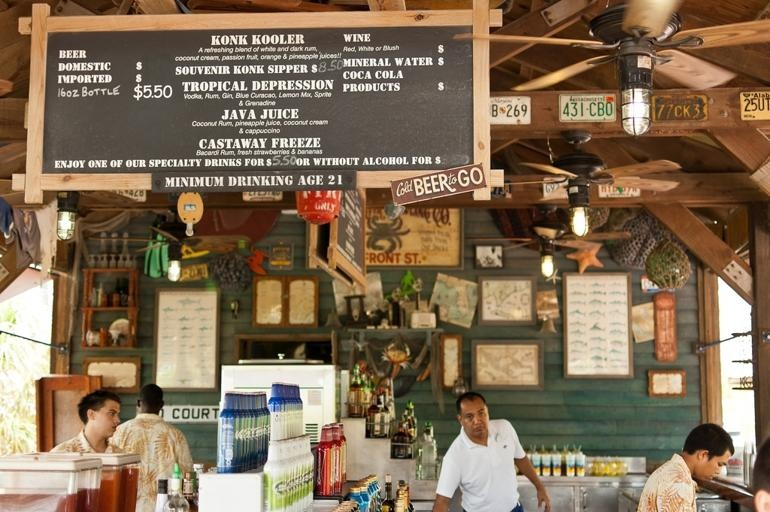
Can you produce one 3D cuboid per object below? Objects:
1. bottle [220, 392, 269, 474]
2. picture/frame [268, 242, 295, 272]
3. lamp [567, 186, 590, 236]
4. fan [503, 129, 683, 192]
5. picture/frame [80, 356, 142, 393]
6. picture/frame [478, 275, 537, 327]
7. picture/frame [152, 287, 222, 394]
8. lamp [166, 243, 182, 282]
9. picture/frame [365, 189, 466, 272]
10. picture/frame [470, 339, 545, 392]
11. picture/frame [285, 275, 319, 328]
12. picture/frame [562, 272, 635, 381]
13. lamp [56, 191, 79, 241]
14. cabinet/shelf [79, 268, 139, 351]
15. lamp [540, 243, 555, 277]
[{"bbox_3d":[-1.118,1.396,10.034,0.158,0.629,0.490,-9,-8,39],"label":"bottle"},{"bbox_3d":[-1.252,0.030,15.249,0.363,0.323,0.084,2,-6,-3],"label":"picture/frame"},{"bbox_3d":[1.879,-0.444,12.149,0.203,0.497,0.206,-6,-7,21],"label":"lamp"},{"bbox_3d":[1.796,-0.913,12.377,2.018,0.576,1.724,-9,3,-12],"label":"fan"},{"bbox_3d":[-3.296,1.441,15.220,0.741,0.443,0.086,-1,-2,10],"label":"picture/frame"},{"bbox_3d":[1.482,0.535,15.094,0.650,0.555,0.064,-2,-7,-6],"label":"picture/frame"},{"bbox_3d":[-2.377,0.999,15.178,0.786,1.234,0.061,-3,-7,3],"label":"picture/frame"},{"bbox_3d":[-2.332,0.054,13.998,0.137,0.385,0.357,-2,-6,-10],"label":"lamp"},{"bbox_3d":[0.371,-0.220,15.173,1.191,0.762,0.121,-3,-7,3],"label":"picture/frame"},{"bbox_3d":[1.478,1.299,15.003,0.823,0.563,0.118,-2,-7,-8],"label":"picture/frame"},{"bbox_3d":[-0.979,0.565,15.184,0.462,0.608,0.048,-1,-2,31],"label":"picture/frame"},{"bbox_3d":[2.555,0.827,15.047,0.838,1.244,0.115,-4,-7,7],"label":"picture/frame"},{"bbox_3d":[-3.058,-0.395,12.134,0.200,0.465,0.350,-1,-6,-14],"label":"lamp"},{"bbox_3d":[-3.337,0.634,15.263,0.723,0.986,0.245,-2,-7,-6],"label":"cabinet/shelf"},{"bbox_3d":[1.752,0.041,13.407,0.126,0.366,0.432,-4,-6,7],"label":"lamp"}]
